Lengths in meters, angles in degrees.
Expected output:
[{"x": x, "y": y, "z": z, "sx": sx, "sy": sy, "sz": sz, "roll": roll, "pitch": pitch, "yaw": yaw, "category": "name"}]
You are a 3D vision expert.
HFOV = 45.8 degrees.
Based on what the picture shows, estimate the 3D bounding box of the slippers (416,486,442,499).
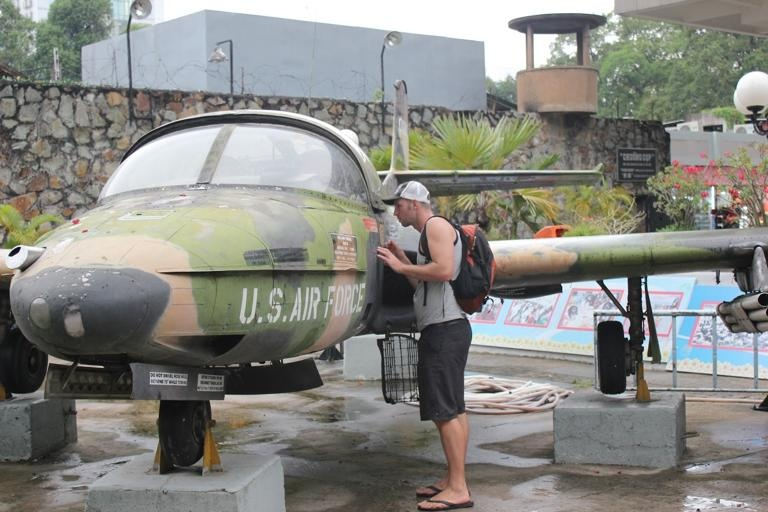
[{"x": 0.568, "y": 2.936, "z": 11.285, "sx": 0.307, "sy": 0.076, "sz": 0.146, "roll": 2, "pitch": 1, "yaw": -9, "category": "slippers"}]

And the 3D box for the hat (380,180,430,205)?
[{"x": 0.293, "y": -0.781, "z": 11.312, "sx": 0.495, "sy": 0.237, "sz": 0.305, "roll": 7, "pitch": 2, "yaw": 6, "category": "hat"}]
